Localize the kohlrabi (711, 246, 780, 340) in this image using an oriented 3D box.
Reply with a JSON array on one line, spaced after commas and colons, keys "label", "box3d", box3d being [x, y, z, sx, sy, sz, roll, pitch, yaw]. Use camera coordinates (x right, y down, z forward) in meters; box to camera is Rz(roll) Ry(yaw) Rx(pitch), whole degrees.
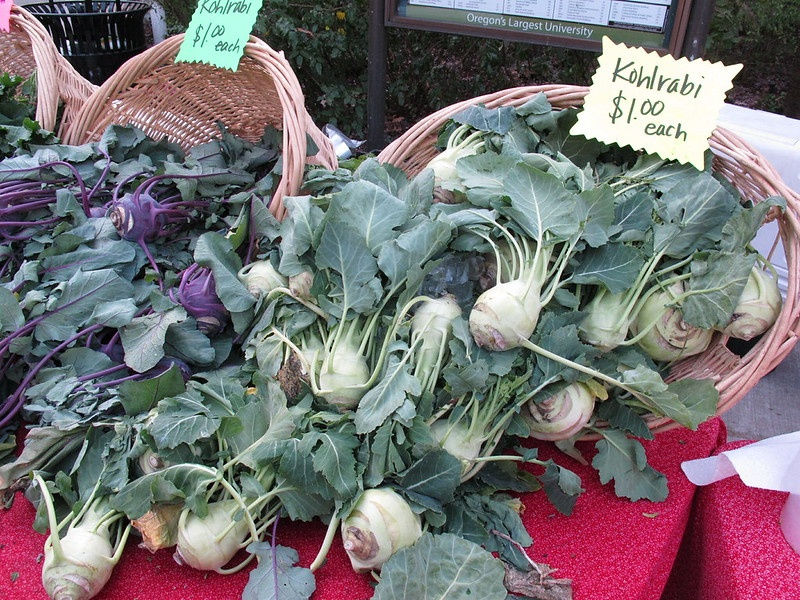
[{"label": "kohlrabi", "box3d": [0.778, -0.017, 1.337, 0.131, 0.117, 0.190, -4, 70, -9]}]
